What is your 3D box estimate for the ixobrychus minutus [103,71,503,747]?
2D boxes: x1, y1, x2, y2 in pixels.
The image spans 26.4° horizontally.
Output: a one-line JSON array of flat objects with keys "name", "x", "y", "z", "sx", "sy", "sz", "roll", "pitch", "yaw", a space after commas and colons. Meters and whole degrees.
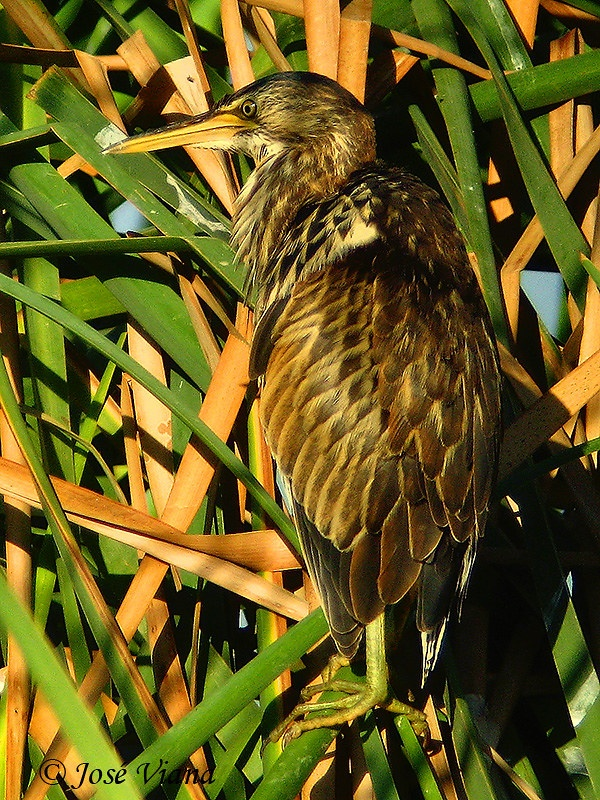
[{"name": "ixobrychus minutus", "x": 0.063, "y": -0.117, "z": 1.930, "sx": 0.441, "sy": 1.022, "sz": 0.393, "roll": -12, "pitch": -38, "yaw": 6}]
